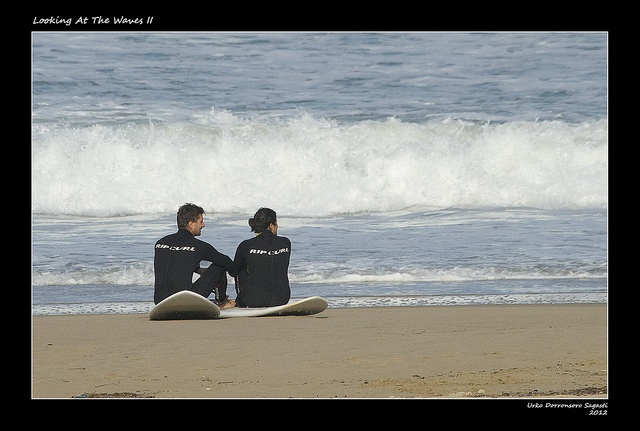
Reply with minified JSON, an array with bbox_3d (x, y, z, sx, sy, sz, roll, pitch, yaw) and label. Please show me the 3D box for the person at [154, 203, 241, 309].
[{"bbox_3d":[-2.271,0.731,21.578,1.346,1.841,0.532,0,4,-6],"label":"person"}]
